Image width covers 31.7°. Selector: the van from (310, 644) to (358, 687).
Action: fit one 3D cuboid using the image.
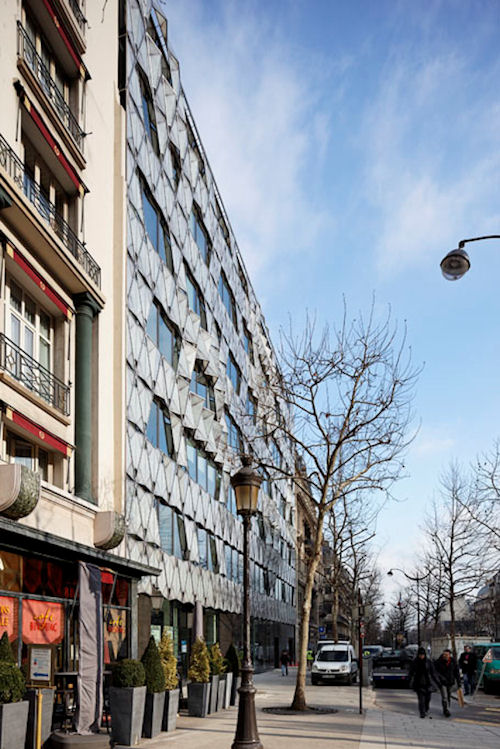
[{"bbox_3d":[3.411,11.794,36.022,1.572,2.110,3.436,-4,-26,13],"label":"van"}]
